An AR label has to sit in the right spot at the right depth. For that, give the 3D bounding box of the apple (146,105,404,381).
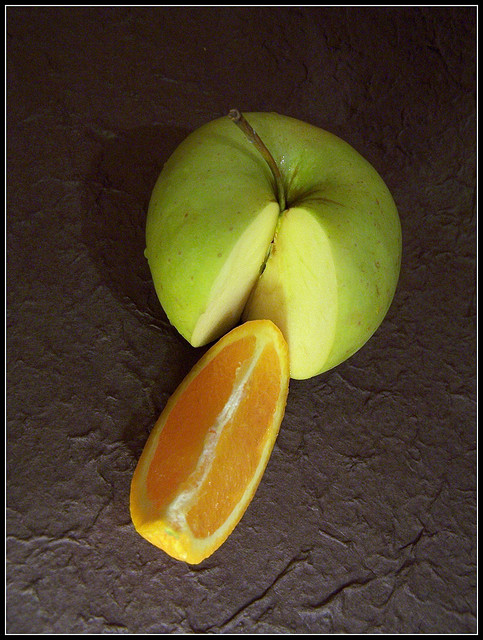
[{"bbox_3d":[0.062,-0.155,1.163,0.474,0.378,0.462,17,82,1],"label":"apple"}]
